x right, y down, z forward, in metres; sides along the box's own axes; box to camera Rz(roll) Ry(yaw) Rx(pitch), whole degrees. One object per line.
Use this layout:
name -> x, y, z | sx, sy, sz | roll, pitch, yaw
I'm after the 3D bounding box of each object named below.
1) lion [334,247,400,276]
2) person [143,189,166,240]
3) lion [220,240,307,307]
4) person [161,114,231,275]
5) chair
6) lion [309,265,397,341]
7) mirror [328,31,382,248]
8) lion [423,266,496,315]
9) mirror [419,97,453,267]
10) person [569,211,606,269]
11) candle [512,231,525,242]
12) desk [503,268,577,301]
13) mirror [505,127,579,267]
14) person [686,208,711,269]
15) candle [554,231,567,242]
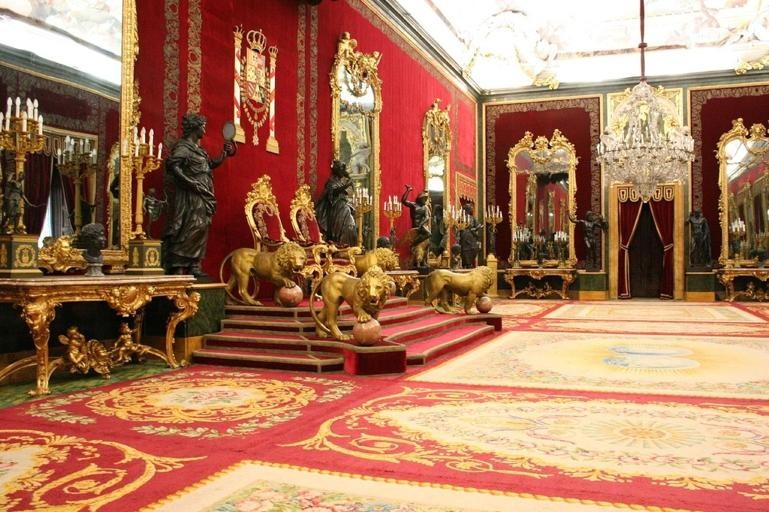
lion -> -0.391, 0.046, 8.668 | 1.129, 0.527, 0.354 | 7, 13, 21
person -> -2.913, -0.560, 7.045 | 0.265, 0.671, 0.758 | 1, -2, -23
lion -> -1.626, 0.243, 7.535 | 1.175, 0.843, 0.305 | 0, -2, 14
person -> -2.440, -0.786, 7.213 | 0.697, 1.970, 0.669 | 4, 7, -9
chair -> -1.175, -0.387, 8.773 | 1.602, 2.083, 1.503 | 6, -1, 26
lion -> -0.383, 0.534, 6.494 | 1.428, 0.997, 0.567 | -1, 0, 33
mirror -> -0.658, -2.352, 11.229 | 0.420, 3.972, 1.043 | 1, 1, 20
lion -> 1.347, 0.606, 9.821 | 1.270, 0.823, 0.431 | 0, 0, 5
mirror -> 1.334, -2.174, 14.869 | 0.347, 4.088, 1.012 | 5, 0, 15
person -> 6.290, -0.475, 17.146 | 1.050, 1.852, 0.616 | 1, -2, -31
candle -> 4.224, -0.625, 17.610 | 0.339, 0.417, 0.327 | 1, -4, -5
desk -> 4.769, 0.843, 17.226 | 2.457, 0.907, 0.876 | 0, 2, 19
mirror -> 4.938, -1.834, 17.504 | 2.086, 4.312, 0.419 | 0, -2, 17
person -> 9.145, -0.506, 16.258 | 0.617, 1.736, 0.493 | 0, -2, 20
candle -> 5.401, -0.607, 17.204 | 0.354, 0.334, 0.348 | 3, 5, 16
